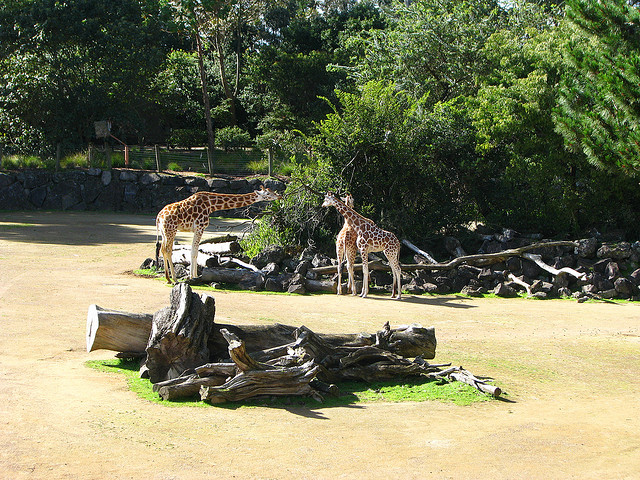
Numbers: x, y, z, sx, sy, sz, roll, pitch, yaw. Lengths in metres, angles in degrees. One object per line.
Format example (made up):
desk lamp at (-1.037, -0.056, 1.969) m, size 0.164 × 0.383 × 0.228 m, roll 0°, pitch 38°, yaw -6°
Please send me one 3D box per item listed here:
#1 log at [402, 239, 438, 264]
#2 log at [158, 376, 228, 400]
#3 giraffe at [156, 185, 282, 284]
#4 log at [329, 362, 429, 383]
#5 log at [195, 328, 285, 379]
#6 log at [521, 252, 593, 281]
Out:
log at (3.124, 0.382, 25.821) m, size 0.174 × 0.217 × 1.199 m, roll -37°, pitch 46°, yaw -19°
log at (-2.286, 2.628, 14.532) m, size 1.154 × 0.385 × 0.193 m, roll 3°, pitch -1°, yaw -13°
giraffe at (-3.138, -0.070, 21.807) m, size 2.509 × 2.360 × 1.031 m, roll 3°, pitch -1°, yaw -17°
log at (1.137, 2.500, 15.729) m, size 1.905 × 0.430 × 0.655 m, roll -1°, pitch 0°, yaw -6°
log at (-1.432, 2.093, 14.722) m, size 1.657 × 0.819 × 1.483 m, roll -1°, pitch 18°, yaw 6°
log at (6.980, 0.790, 23.853) m, size 0.383 × 0.357 × 2.275 m, roll 14°, pitch 3°, yaw -24°
